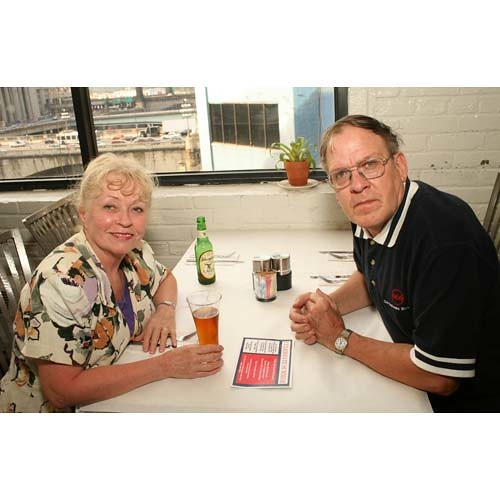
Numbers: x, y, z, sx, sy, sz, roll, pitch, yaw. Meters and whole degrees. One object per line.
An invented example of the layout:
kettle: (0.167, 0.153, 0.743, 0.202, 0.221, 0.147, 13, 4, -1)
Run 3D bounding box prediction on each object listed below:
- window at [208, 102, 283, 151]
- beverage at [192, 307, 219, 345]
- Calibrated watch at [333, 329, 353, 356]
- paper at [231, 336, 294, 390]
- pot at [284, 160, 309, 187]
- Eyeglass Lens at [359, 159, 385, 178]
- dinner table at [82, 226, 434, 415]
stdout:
window: (-0.018, -0.815, 2.524, 0.445, 0.227, 0.028, 3, 25, 10)
beverage: (-0.108, 0.200, 1.000, 0.065, 0.112, 0.071, -9, 24, -10)
Calibrated watch: (0.233, 0.236, 1.002, 0.041, 0.060, 0.065, 29, 10, 16)
paper: (0.035, 0.280, 0.993, 0.135, 0.009, 0.208, 0, 21, 6)
pot: (0.269, -0.448, 2.239, 0.160, 0.124, 0.149, -1, 12, 0)
Eyeglass Lens: (0.314, -0.210, 1.010, 0.059, 0.022, 0.055, -4, -2, 15)
dinner table: (0.050, 0.254, 0.961, 0.513, 0.154, 0.668, 0, 30, 3)
